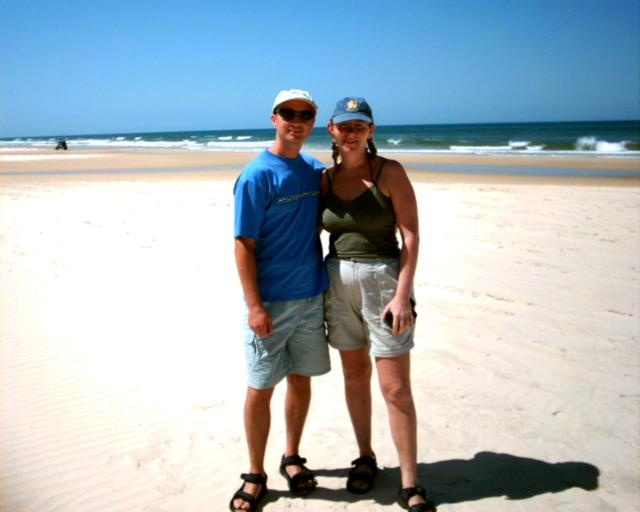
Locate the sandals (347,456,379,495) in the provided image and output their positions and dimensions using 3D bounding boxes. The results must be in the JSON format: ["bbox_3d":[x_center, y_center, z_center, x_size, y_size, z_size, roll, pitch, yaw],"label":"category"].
[{"bbox_3d":[0.296,1.571,4.123,0.131,0.116,0.310,0,-1,12],"label":"sandals"}]

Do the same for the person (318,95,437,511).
[{"bbox_3d":[0.377,0.312,4.018,0.659,2.751,0.905,-4,12,-5],"label":"person"}]

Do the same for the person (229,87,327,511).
[{"bbox_3d":[-0.276,0.295,4.029,0.573,2.811,0.902,2,13,25],"label":"person"}]

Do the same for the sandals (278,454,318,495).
[{"bbox_3d":[-0.162,1.565,4.156,0.154,0.128,0.329,0,4,-14],"label":"sandals"}]

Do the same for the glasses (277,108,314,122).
[{"bbox_3d":[-0.162,-0.968,3.973,0.256,0.102,0.086,-4,12,-3],"label":"glasses"}]

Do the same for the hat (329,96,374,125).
[{"bbox_3d":[0.215,-0.993,3.973,0.281,0.165,0.134,-2,12,2],"label":"hat"}]
